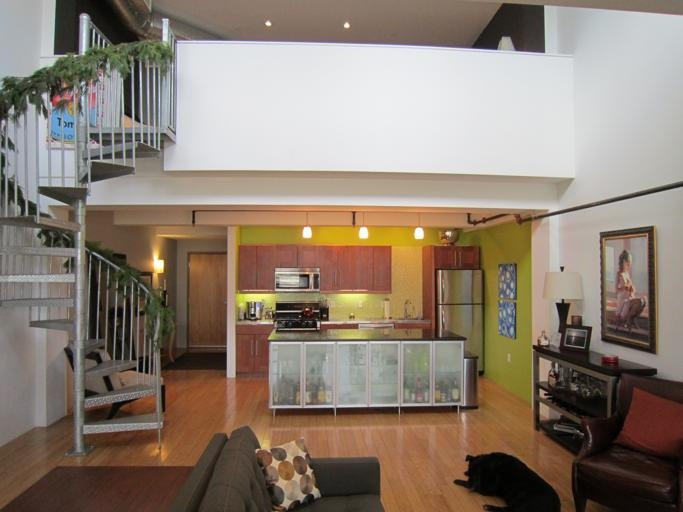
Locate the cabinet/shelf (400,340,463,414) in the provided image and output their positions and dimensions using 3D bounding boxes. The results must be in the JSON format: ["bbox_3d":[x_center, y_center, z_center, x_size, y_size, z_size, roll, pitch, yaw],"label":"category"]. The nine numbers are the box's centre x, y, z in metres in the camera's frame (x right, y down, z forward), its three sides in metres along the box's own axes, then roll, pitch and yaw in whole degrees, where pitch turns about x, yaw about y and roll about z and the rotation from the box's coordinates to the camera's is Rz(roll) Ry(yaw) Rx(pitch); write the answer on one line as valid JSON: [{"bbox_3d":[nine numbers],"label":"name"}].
[{"bbox_3d":[1.326,1.721,8.430,0.919,1.015,0.353,0,-4,-4],"label":"cabinet/shelf"}]

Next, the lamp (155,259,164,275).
[{"bbox_3d":[-3.793,0.209,12.015,0.185,0.400,0.377,-1,0,0],"label":"lamp"}]

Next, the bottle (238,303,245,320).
[{"bbox_3d":[-1.906,1.050,10.898,0.120,0.286,0.228,-1,6,-6],"label":"bottle"}]

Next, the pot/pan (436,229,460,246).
[{"bbox_3d":[2.058,-0.377,11.010,0.280,0.246,0.305,0,-2,-4],"label":"pot/pan"}]

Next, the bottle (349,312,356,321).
[{"bbox_3d":[0.223,1.187,11.260,0.093,0.199,0.106,0,2,-6],"label":"bottle"}]

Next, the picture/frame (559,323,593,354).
[{"bbox_3d":[3.061,1.052,7.579,0.434,0.538,0.276,-4,-13,45],"label":"picture/frame"}]

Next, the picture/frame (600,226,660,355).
[{"bbox_3d":[3.527,0.357,6.988,0.152,1.472,0.897,-2,7,-15],"label":"picture/frame"}]

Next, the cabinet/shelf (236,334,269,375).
[{"bbox_3d":[-1.656,1.810,10.564,0.780,0.884,0.435,0,-5,-6],"label":"cabinet/shelf"}]

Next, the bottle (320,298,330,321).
[{"bbox_3d":[-0.331,1.029,11.158,0.163,0.364,0.320,0,6,1],"label":"bottle"}]

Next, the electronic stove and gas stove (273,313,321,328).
[{"bbox_3d":[-0.838,1.200,10.814,0.849,0.242,0.520,0,7,-4],"label":"electronic stove and gas stove"}]

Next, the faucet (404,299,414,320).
[{"bbox_3d":[1.351,1.048,11.427,0.190,0.355,0.301,1,6,6],"label":"faucet"}]

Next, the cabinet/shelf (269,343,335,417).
[{"bbox_3d":[-0.582,1.757,8.339,0.898,1.085,0.348,0,-4,-3],"label":"cabinet/shelf"}]

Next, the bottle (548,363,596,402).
[{"bbox_3d":[3.063,1.625,7.531,0.288,0.410,0.546,-2,6,-31],"label":"bottle"}]

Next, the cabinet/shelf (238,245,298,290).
[{"bbox_3d":[-1.445,0.236,10.897,0.720,0.710,0.255,0,-1,-6],"label":"cabinet/shelf"}]

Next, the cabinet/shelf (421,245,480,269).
[{"bbox_3d":[2.132,0.016,10.916,0.636,0.384,0.485,0,-4,-3],"label":"cabinet/shelf"}]

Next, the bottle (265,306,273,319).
[{"bbox_3d":[-1.406,1.099,11.153,0.185,0.315,0.159,1,5,4],"label":"bottle"}]

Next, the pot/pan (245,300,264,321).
[{"bbox_3d":[-1.678,1.037,10.985,0.340,0.311,0.437,-1,7,-4],"label":"pot/pan"}]

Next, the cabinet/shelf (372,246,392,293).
[{"bbox_3d":[0.783,0.252,11.084,0.340,0.848,0.169,-2,6,-14],"label":"cabinet/shelf"}]
